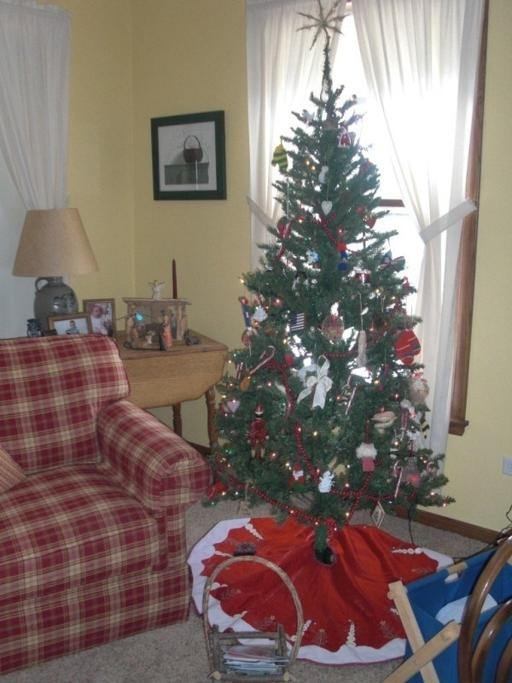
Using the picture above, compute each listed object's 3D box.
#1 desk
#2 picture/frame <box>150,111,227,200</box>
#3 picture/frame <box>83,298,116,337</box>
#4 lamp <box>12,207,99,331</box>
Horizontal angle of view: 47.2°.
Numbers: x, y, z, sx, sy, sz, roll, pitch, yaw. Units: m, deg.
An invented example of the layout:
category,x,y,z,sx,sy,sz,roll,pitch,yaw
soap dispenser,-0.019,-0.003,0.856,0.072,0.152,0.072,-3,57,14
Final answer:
category,x,y,z,sx,sy,sz,roll,pitch,yaw
desk,-0.467,0.113,3.311,0.753,0.749,0.551,-5,14,-23
picture/frame,-0.390,-1.146,3.549,0.547,0.497,0.021,8,13,35
picture/frame,-0.860,-0.131,3.197,0.014,0.225,0.188,4,10,39
lamp,-1.055,-0.377,3.036,0.337,0.612,0.353,3,13,16
